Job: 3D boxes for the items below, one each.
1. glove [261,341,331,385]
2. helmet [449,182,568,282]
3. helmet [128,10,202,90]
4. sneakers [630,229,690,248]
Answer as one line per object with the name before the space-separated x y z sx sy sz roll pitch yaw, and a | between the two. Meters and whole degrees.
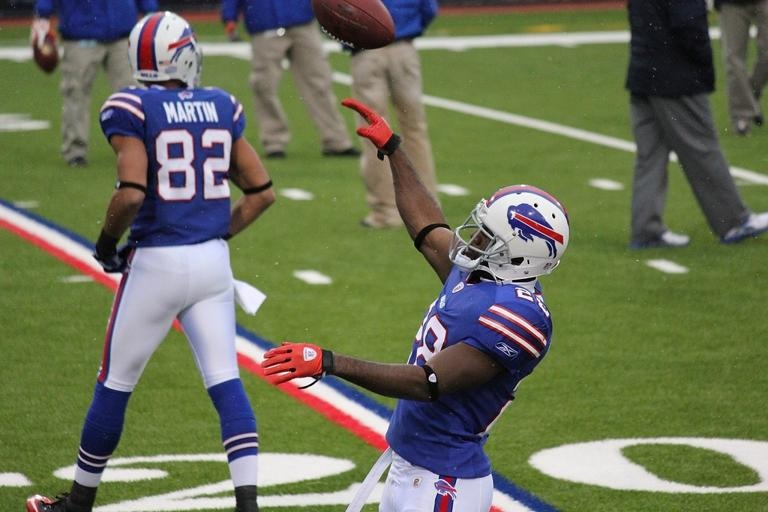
glove | -0.378 0.488 5.242 0.297 0.240 0.188 2 16 -6
helmet | 0.576 -0.119 5.535 0.561 0.375 0.399 -1 13 -21
helmet | -1.121 -1.026 6.147 0.339 0.457 0.461 4 13 4
sneakers | 1.591 -0.109 6.970 0.310 0.126 0.109 -4 0 16
